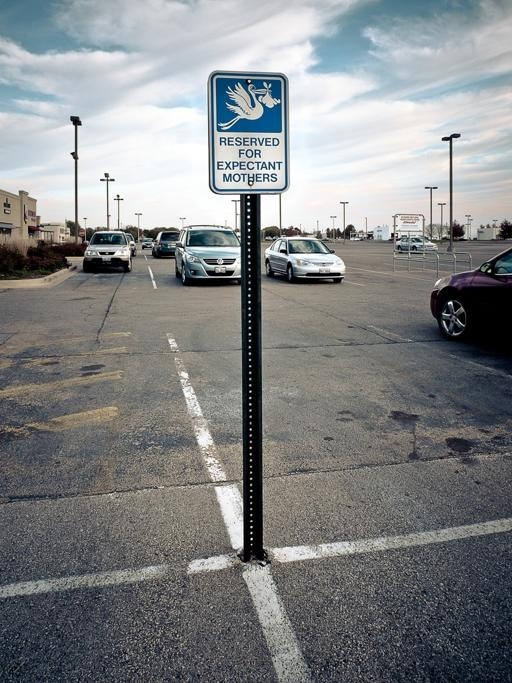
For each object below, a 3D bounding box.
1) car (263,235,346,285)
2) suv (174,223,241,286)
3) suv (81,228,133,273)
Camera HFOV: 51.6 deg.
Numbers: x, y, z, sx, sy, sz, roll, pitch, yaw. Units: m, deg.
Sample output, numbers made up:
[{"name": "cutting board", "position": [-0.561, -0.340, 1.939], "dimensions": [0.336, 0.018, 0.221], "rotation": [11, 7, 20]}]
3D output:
[{"name": "car", "position": [1.524, -3.121, 19.854], "dimensions": [1.376, 1.222, 3.320], "rotation": [-2, 10, -17]}, {"name": "suv", "position": [-1.625, -2.987, 17.891], "dimensions": [2.031, 2.032, 2.668], "rotation": [-1, 8, -6]}, {"name": "suv", "position": [-6.563, -4.069, 23.700], "dimensions": [1.279, 1.372, 2.708], "rotation": [0, 1, -7]}]
